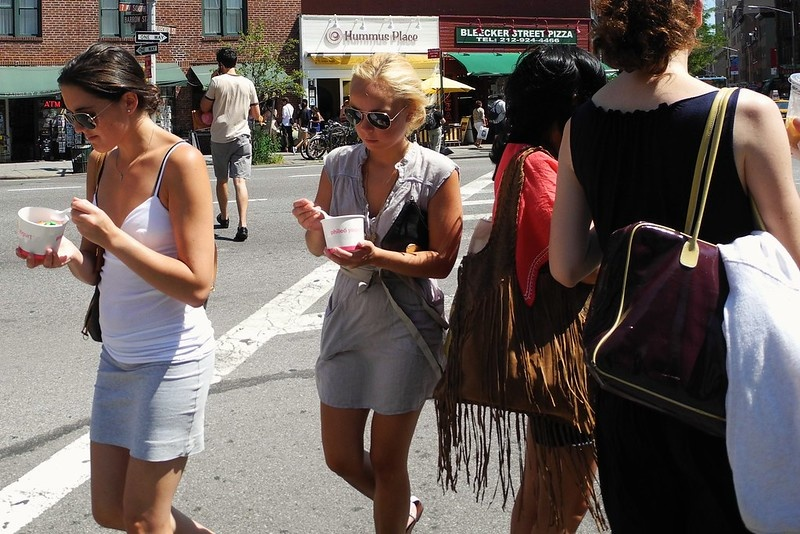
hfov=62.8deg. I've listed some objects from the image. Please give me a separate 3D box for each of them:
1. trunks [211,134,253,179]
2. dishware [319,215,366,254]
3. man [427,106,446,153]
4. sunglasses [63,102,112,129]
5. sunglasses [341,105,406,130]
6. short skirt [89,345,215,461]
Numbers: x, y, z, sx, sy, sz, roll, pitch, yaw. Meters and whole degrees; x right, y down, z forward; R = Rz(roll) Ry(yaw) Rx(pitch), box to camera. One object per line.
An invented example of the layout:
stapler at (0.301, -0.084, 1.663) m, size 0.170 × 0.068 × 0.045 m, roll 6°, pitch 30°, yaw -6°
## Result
trunks at (-2.568, -1.707, 9.741) m, size 0.603 × 0.677 × 0.381 m, roll -9°, pitch 38°, yaw -24°
dishware at (-0.246, -0.140, 2.811) m, size 0.145 × 0.128 × 0.158 m, roll -18°, pitch -4°, yaw 16°
man at (0.790, -3.254, 15.504) m, size 0.455 × 1.377 × 0.392 m, roll 14°, pitch 45°, yaw 22°
sunglasses at (-1.260, -0.586, 2.609) m, size 0.122 × 0.041 × 0.131 m, roll 8°, pitch 33°, yaw 40°
sunglasses at (-0.134, -0.679, 2.972) m, size 0.292 × 0.100 × 0.124 m, roll 8°, pitch 17°, yaw 27°
short skirt at (-1.072, 0.547, 2.811) m, size 0.575 × 0.477 × 0.401 m, roll 3°, pitch 1°, yaw 25°
